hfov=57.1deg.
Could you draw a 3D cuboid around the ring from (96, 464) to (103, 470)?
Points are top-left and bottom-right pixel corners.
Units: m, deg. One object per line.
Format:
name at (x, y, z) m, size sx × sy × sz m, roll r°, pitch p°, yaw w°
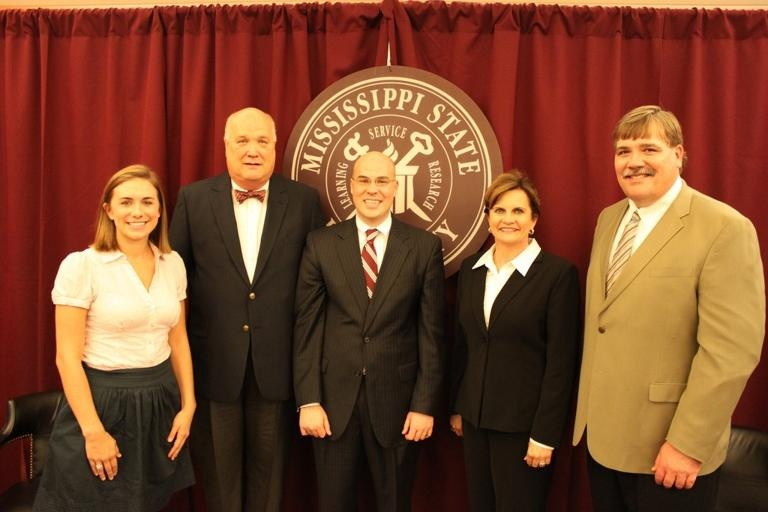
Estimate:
ring at (-1.594, 1.178, 3.974) m, size 0.035 × 0.037 × 0.008 m, roll -3°, pitch 12°, yaw -24°
